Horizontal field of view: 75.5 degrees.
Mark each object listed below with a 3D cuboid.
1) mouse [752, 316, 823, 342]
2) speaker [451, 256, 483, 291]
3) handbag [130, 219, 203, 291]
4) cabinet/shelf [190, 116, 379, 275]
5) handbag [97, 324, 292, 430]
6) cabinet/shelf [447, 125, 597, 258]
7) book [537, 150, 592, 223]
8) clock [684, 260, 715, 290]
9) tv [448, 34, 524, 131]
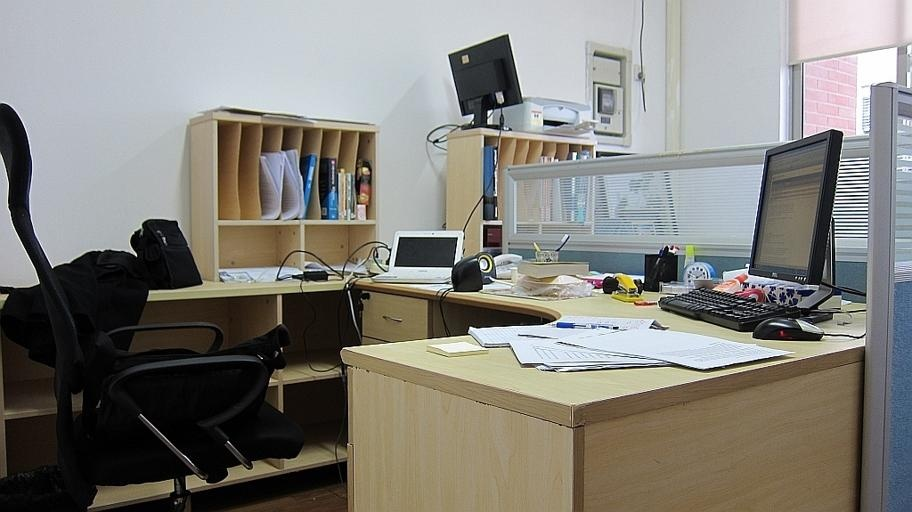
[{"bbox_3d":[1.156,0.250,2.029,0.177,0.048,0.096,-1,1,2],"label":"mouse"},{"bbox_3d":[0.049,0.091,2.912,0.163,0.148,0.164,-2,5,-10],"label":"speaker"},{"bbox_3d":[-1.593,0.008,3.184,0.296,0.416,0.401,-11,-5,23],"label":"handbag"},{"bbox_3d":[-1.057,-0.380,3.748,1.119,0.932,0.414,-5,7,-39],"label":"cabinet/shelf"},{"bbox_3d":[-1.049,0.419,2.318,0.534,0.181,0.438,-5,-2,-20],"label":"handbag"},{"bbox_3d":[0.366,-0.398,3.828,1.117,0.905,0.321,-2,4,-39],"label":"cabinet/shelf"},{"bbox_3d":[0.598,-0.310,3.289,0.310,0.256,0.063,6,18,37],"label":"book"},{"bbox_3d":[1.153,0.101,2.789,0.079,0.135,0.149,9,-5,-36],"label":"clock"},{"bbox_3d":[0.201,-1.263,4.338,0.239,0.620,0.526,-14,16,-33],"label":"tv"}]
